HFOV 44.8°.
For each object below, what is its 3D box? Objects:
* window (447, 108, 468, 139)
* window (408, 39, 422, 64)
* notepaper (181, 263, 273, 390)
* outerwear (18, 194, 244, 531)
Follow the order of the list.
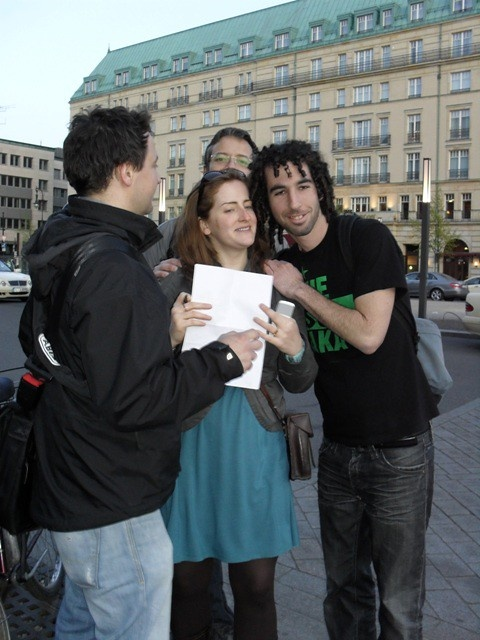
[{"bbox_3d":[16.500,-14.662,43.520,0.303,2.309,1.557,-4,5,-43],"label":"window"},{"bbox_3d":[14.046,-21.376,46.102,0.986,2.004,0.753,1,4,18],"label":"window"},{"bbox_3d":[-0.055,0.018,2.097,0.336,0.446,0.119,8,-5,5],"label":"notepaper"},{"bbox_3d":[-0.439,-0.038,2.037,0.801,1.211,0.978,-7,12,-25],"label":"outerwear"}]
